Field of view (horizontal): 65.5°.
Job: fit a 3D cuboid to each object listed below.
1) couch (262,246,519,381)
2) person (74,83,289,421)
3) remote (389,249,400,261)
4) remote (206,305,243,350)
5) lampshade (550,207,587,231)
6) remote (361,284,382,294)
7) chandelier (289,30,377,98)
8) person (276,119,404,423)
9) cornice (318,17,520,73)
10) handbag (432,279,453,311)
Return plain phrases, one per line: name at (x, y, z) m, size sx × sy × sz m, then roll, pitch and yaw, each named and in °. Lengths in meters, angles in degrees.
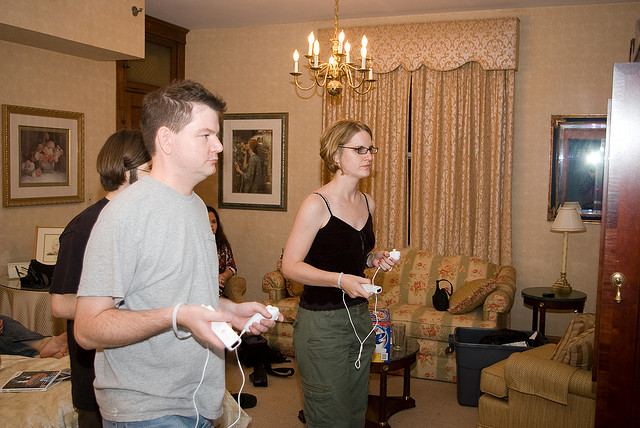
couch at (1.170, 1.084, 6.035) m, size 2.173 × 1.083 × 1.018 m, roll 3°, pitch 14°, yaw 44°
person at (-0.751, 0.197, 2.535) m, size 0.875 × 1.670 × 0.959 m, roll 1°, pitch 4°, yaw -7°
remote at (0.498, 0.281, 3.277) m, size 0.063 × 0.058 × 0.062 m, roll 5°, pitch -6°, yaw -35°
remote at (-0.416, 0.526, 2.175) m, size 0.109 × 0.113 × 0.094 m, roll 5°, pitch 5°, yaw 40°
lampshade at (2.843, 0.045, 5.681) m, size 0.295 × 0.200 × 0.269 m, roll -5°, pitch 5°, yaw -45°
remote at (0.311, 0.454, 2.974) m, size 0.113 × 0.074 × 0.206 m, roll 2°, pitch 3°, yaw 5°
chandelier at (0.163, -1.480, 5.007) m, size 0.846 × 0.580 × 0.859 m, roll 2°, pitch 7°, yaw 31°
person at (0.136, 0.375, 3.273) m, size 0.637 × 1.992 × 0.602 m, roll 3°, pitch 4°, yaw 19°
cornice at (1.225, -2.144, 6.483) m, size 2.801 × 0.611 × 0.392 m, roll -4°, pitch 15°, yaw -9°
handbag at (1.357, 0.957, 5.588) m, size 0.188 × 0.331 × 0.254 m, roll 1°, pitch -7°, yaw -41°
